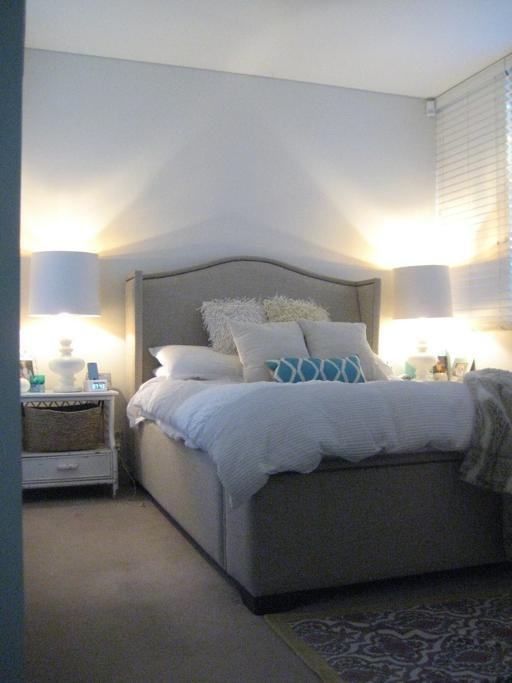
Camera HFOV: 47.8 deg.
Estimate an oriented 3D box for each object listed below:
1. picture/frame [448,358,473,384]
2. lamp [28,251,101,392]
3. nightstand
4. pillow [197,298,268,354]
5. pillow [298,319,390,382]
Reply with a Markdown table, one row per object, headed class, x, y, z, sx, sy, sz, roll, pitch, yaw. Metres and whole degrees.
| class | x | y | z | sx | sy | sz | roll | pitch | yaw |
| --- | --- | --- | --- | --- | --- | --- | --- | --- | --- |
| picture/frame | 1.200 | 0.174 | 3.403 | 0.159 | 0.142 | 0.103 | 1 | -3 | -11 |
| lamp | -1.105 | -0.107 | 3.328 | 0.377 | 0.776 | 0.408 | 1 | -3 | -21 |
| nightstand | -1.057 | 0.570 | 3.266 | 0.487 | 0.573 | 0.579 | 0 | -3 | -20 |
| pillow | -0.174 | -0.141 | 3.510 | 0.358 | 0.344 | 0.106 | -3 | -34 | -11 |
| pillow | 0.472 | 0.050 | 3.202 | 0.325 | 0.261 | 0.162 | 8 | -23 | -29 |
